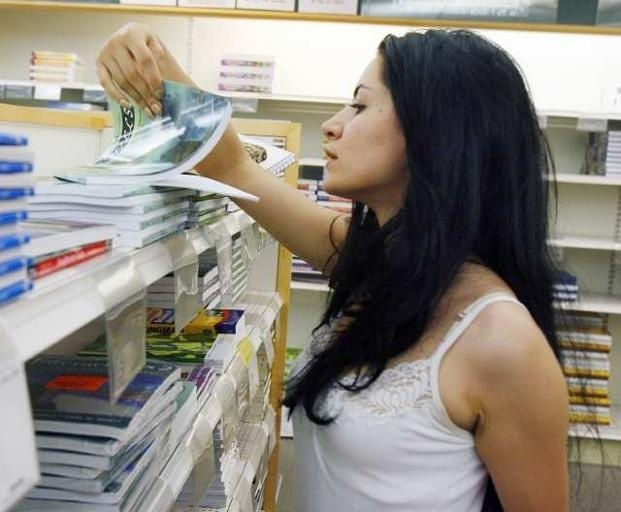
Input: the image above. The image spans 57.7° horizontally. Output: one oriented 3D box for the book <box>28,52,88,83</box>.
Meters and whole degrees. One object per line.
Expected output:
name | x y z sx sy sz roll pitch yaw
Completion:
book | -1.465 -1.093 3.244 0.284 0.171 0.156 -7 16 -23
